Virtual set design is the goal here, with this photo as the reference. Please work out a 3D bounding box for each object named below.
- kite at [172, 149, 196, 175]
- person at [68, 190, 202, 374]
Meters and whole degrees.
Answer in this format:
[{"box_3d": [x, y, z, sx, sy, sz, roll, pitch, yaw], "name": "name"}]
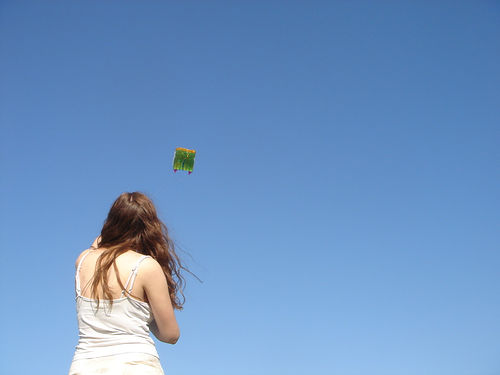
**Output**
[{"box_3d": [-0.480, -0.185, 4.327, 0.172, 0.047, 0.195, -12, -61, -20], "name": "kite"}, {"box_3d": [-0.674, 0.498, 3.308, 0.568, 0.762, 0.572, 2, -50, -5], "name": "person"}]
